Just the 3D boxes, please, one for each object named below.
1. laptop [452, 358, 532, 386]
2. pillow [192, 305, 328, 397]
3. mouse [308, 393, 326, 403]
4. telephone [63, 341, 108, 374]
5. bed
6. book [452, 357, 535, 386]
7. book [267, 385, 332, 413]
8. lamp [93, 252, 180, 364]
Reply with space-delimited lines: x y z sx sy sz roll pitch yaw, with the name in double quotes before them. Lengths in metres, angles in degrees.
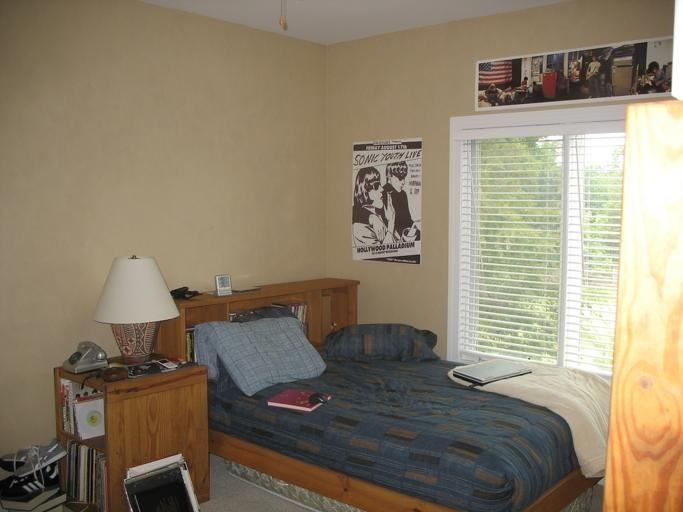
"laptop" 0.994 0.766 3.508 0.325 0.040 0.189 -6 7 -33
"pillow" -0.501 0.634 3.527 0.596 0.162 0.576 -5 29 -40
"mouse" -0.139 0.836 3.084 0.117 0.046 0.074 -1 11 -1
"telephone" -1.548 0.594 3.144 0.265 0.126 0.306 -4 9 -27
"bed" -0.171 0.884 3.368 2.034 0.705 1.368 6 10 41
"book" 0.990 0.767 3.497 0.328 0.042 0.191 -6 7 -34
"book" -0.246 0.837 3.181 0.369 0.082 0.300 5 12 29
"lamp" -1.205 0.331 3.059 0.380 0.636 0.286 3 12 19
